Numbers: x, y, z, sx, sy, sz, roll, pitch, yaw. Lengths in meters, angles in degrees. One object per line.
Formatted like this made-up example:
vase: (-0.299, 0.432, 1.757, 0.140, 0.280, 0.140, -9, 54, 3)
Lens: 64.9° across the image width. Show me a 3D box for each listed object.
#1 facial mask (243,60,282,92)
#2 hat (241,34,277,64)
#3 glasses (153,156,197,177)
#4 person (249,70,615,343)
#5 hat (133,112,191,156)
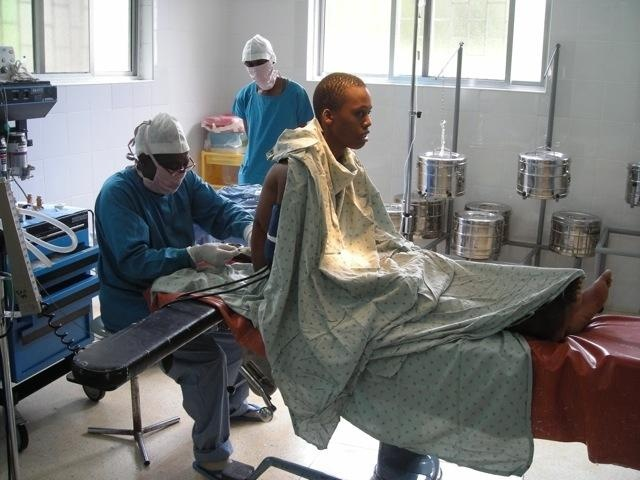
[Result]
facial mask: (-0.440, -1.230, 3.752, 0.170, 0.183, 0.226, -5, 47, 18)
hat: (-0.456, -1.417, 3.707, 0.219, 0.217, 0.248, 2, 13, 7)
glasses: (-0.656, -0.327, 2.233, 0.114, 0.034, 0.118, 14, -17, -42)
person: (0.381, -0.166, 1.884, 1.333, 0.916, 0.391, 5, 13, 17)
hat: (-0.698, -0.471, 2.242, 0.227, 0.163, 0.161, 4, 17, 19)
